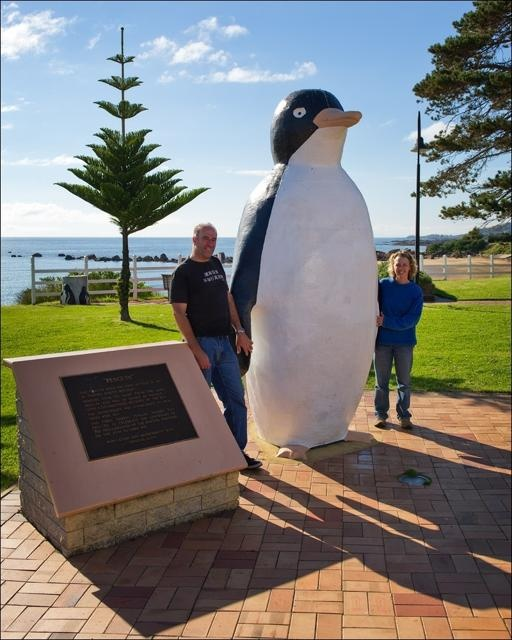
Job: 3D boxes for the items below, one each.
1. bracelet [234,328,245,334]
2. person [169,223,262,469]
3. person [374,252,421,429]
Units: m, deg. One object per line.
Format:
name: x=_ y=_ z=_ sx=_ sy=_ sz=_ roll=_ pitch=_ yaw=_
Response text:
bracelet: x=-0.126 y=0.086 z=4.071 sx=0.047 sy=0.043 sz=0.017 roll=9 pitch=45 yaw=-6
person: x=-0.268 y=0.230 z=3.889 sx=0.476 sy=1.809 sz=0.697 roll=1 pitch=7 yaw=21
person: x=1.275 y=0.192 z=4.808 sx=0.417 sy=1.608 sz=0.441 roll=0 pitch=7 yaw=12
